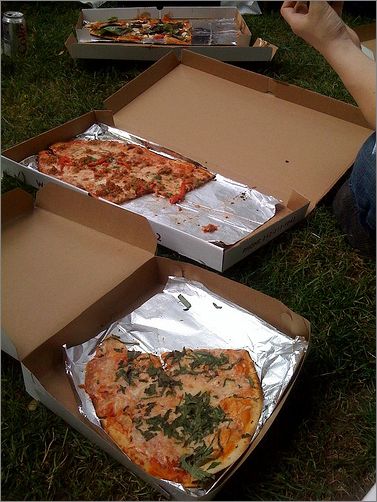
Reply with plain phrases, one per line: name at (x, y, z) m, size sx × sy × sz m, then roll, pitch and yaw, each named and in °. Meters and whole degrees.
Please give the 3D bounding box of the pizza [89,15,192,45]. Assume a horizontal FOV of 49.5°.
pizza at (-0.373, -1.655, 3.062) m, size 0.606 × 0.098 × 0.411 m, roll -20°, pitch 44°, yaw -19°

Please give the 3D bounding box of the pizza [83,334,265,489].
pizza at (-0.060, 0.370, 1.055) m, size 0.488 × 0.079 × 0.401 m, roll 16°, pitch 42°, yaw 12°

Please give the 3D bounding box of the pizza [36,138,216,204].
pizza at (-0.298, -0.364, 1.870) m, size 0.674 × 0.086 × 0.381 m, roll 18°, pitch 43°, yaw 20°
